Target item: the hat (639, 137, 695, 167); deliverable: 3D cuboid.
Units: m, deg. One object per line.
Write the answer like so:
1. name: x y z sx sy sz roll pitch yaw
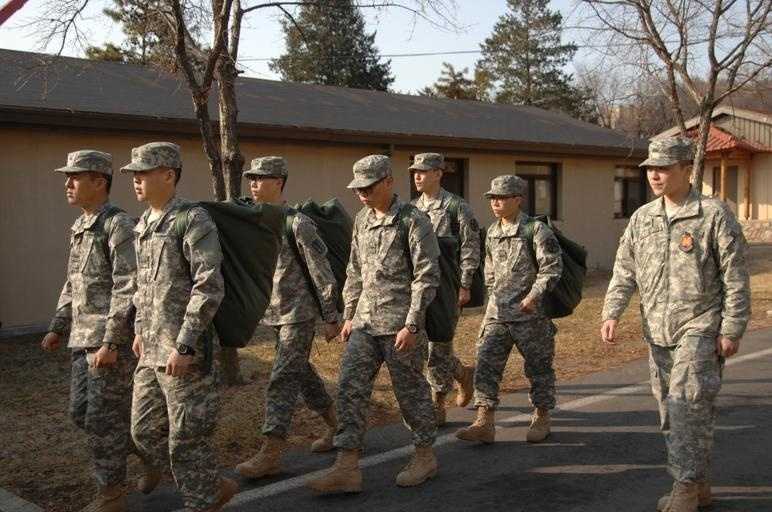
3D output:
1. hat: 2.781 -1.054 8.341 0.619 0.239 0.419 -17 17 -38

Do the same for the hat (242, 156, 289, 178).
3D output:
1. hat: -1.270 -0.958 9.128 0.404 0.122 0.272 -4 4 -44

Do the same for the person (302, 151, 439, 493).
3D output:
1. person: -0.091 0.663 8.702 1.290 3.319 1.310 -1 15 5

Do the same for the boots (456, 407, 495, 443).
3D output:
1. boots: 1.025 1.918 9.526 0.484 0.429 0.283 -3 15 -4

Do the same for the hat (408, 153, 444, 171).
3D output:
1. hat: 0.571 -1.169 10.455 0.398 0.142 0.270 -6 9 -40

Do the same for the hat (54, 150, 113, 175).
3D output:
1. hat: -3.094 -0.949 8.635 0.504 0.198 0.351 -5 8 -27

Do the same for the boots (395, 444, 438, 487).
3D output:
1. boots: 0.304 2.154 8.733 0.231 0.355 0.605 2 6 39

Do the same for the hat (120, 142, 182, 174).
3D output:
1. hat: -2.236 -0.942 8.053 0.483 0.179 0.320 -11 12 -32

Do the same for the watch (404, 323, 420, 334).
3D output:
1. watch: 0.273 0.733 8.521 0.132 0.078 0.114 2 -3 2

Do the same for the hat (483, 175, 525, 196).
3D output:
1. hat: 1.467 -0.846 9.851 0.548 0.188 0.347 -1 2 -20

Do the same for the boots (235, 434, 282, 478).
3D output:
1. boots: -1.336 2.112 8.884 0.517 0.411 0.224 0 -5 -36

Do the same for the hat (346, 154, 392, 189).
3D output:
1. hat: -0.174 -0.909 8.784 0.577 0.251 0.404 -25 21 -38
